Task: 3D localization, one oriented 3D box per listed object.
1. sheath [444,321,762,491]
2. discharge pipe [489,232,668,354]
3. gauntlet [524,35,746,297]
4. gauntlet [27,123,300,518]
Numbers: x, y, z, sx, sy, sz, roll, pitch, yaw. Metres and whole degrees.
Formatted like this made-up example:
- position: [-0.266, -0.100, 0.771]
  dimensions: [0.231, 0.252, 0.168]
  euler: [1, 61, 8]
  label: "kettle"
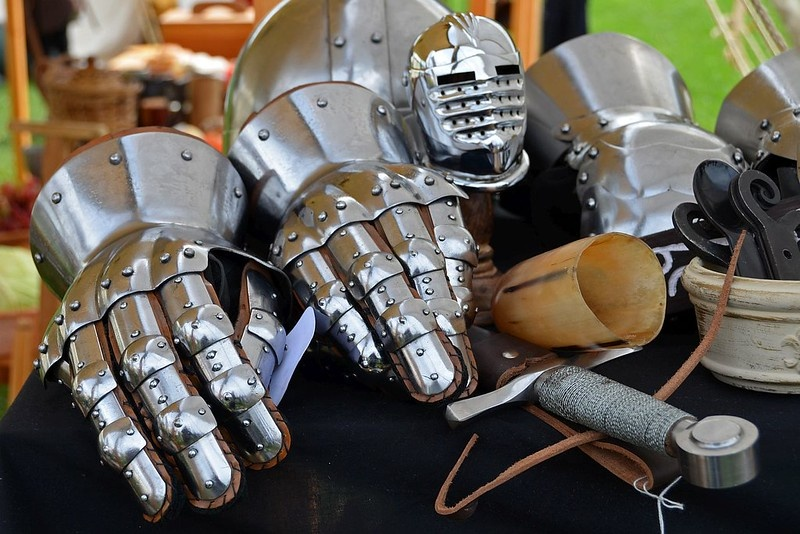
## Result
- position: [0.229, 0.159, 1.035]
  dimensions: [0.274, 0.070, 0.464]
  euler: [-17, 15, -24]
  label: "sheath"
- position: [0.228, 0.028, 1.121]
  dimensions: [0.154, 0.152, 0.194]
  euler: [-10, 23, -25]
  label: "discharge pipe"
- position: [0.372, -0.182, 1.332]
  dimensions: [0.304, 0.155, 0.435]
  euler: [-7, 43, -9]
  label: "gauntlet"
- position: [-0.303, 0.046, 1.063]
  dimensions: [0.325, 0.231, 0.487]
  euler: [-16, 38, -8]
  label: "gauntlet"
